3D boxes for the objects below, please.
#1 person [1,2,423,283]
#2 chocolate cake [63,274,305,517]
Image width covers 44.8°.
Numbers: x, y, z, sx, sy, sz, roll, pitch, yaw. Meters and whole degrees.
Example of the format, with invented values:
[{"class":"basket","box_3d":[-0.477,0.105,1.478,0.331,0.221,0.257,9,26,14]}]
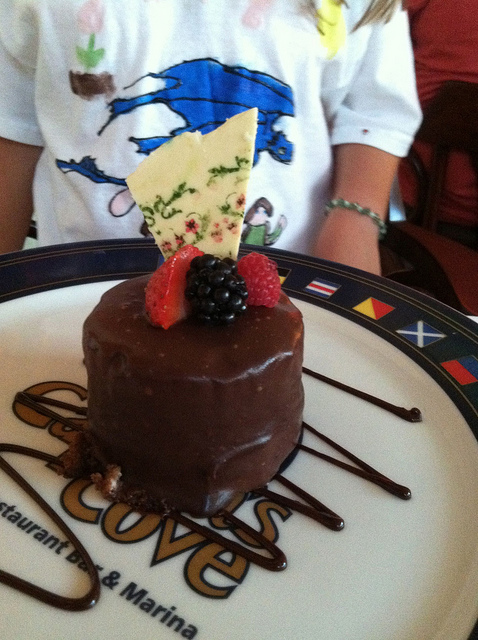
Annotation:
[{"class":"person","box_3d":[-0.112,-0.569,1.776,1.118,0.848,0.542,-3,21,-10]},{"class":"chocolate cake","box_3d":[-0.086,0.153,1.226,0.504,0.301,0.448,-4,32,-14]}]
